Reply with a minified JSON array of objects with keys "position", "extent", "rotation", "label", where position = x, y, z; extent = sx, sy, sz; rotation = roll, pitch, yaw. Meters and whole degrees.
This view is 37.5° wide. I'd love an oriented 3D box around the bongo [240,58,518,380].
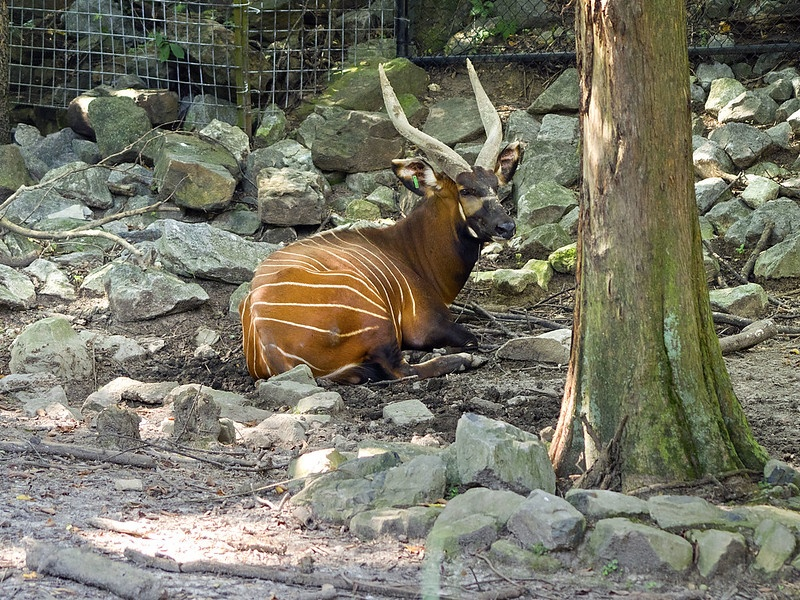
[{"position":[-0.127,-0.141,8.246],"extent":[2.872,2.039,1.165],"rotation":[-1,8,-15],"label":"bongo"}]
